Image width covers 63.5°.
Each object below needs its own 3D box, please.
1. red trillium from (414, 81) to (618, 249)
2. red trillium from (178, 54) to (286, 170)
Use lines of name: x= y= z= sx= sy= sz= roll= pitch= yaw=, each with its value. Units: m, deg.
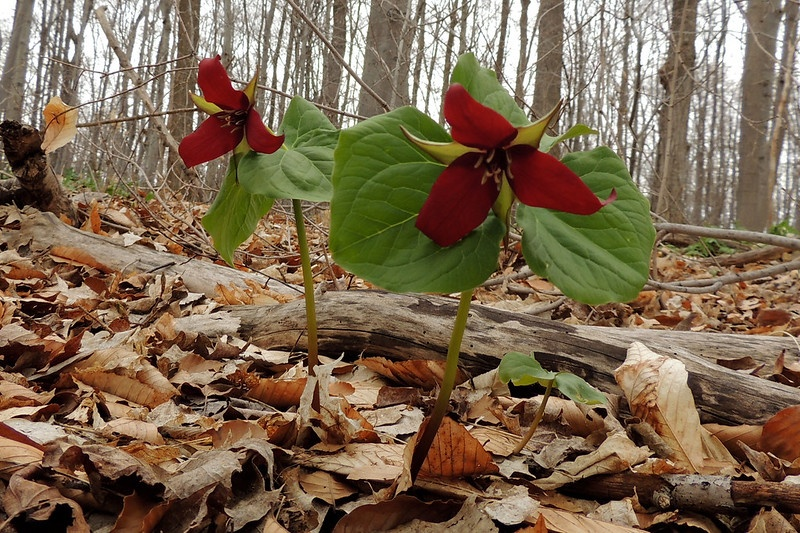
red trillium: x=0.539 y=-0.460 z=2.834 sx=0.851 sy=0.302 sz=0.881 roll=29 pitch=4 yaw=-4
red trillium: x=-0.823 y=-0.760 z=3.223 sx=0.558 sy=0.559 sz=0.215 roll=7 pitch=5 yaw=16
